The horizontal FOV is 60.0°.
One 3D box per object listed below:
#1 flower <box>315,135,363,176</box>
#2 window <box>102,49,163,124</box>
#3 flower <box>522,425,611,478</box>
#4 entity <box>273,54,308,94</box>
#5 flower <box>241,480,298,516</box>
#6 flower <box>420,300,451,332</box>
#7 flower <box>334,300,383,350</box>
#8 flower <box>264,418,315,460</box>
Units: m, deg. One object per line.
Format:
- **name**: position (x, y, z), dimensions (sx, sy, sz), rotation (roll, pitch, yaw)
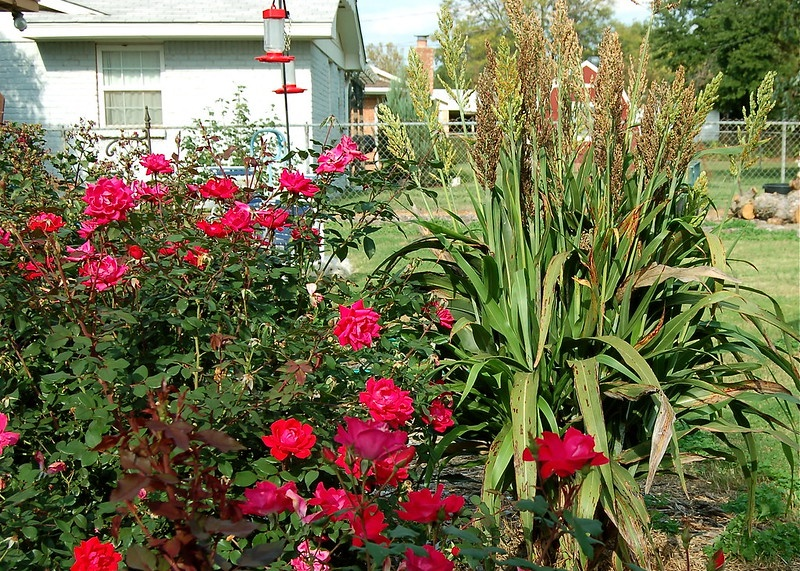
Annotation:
- **flower**: position (-0.222, -0.502, 2.635), dimensions (0.211, 0.143, 0.188), rotation (-7, 12, -30)
- **window**: position (-5.117, -3.792, 13.311), dimensions (1.132, 1.658, 0.124), rotation (-4, -7, -16)
- **flower**: position (0.381, 0.426, 1.718), dimensions (0.168, 0.087, 0.166), rotation (30, 9, 41)
- **entity**: position (-1.517, -2.892, 9.569), dimensions (0.432, 0.540, 0.411), rotation (-5, 3, -32)
- **flower**: position (-0.315, 0.507, 1.653), dimensions (0.120, 0.072, 0.130), rotation (-1, -7, -8)
- **flower**: position (0.151, 0.122, 2.757), dimensions (0.095, 0.123, 0.171), rotation (3, 11, 23)
- **flower**: position (-0.140, 0.130, 2.216), dimensions (0.138, 0.183, 0.145), rotation (-2, 10, -7)
- **flower**: position (-0.308, 0.440, 1.969), dimensions (0.155, 0.089, 0.152), rotation (2, 10, 3)
